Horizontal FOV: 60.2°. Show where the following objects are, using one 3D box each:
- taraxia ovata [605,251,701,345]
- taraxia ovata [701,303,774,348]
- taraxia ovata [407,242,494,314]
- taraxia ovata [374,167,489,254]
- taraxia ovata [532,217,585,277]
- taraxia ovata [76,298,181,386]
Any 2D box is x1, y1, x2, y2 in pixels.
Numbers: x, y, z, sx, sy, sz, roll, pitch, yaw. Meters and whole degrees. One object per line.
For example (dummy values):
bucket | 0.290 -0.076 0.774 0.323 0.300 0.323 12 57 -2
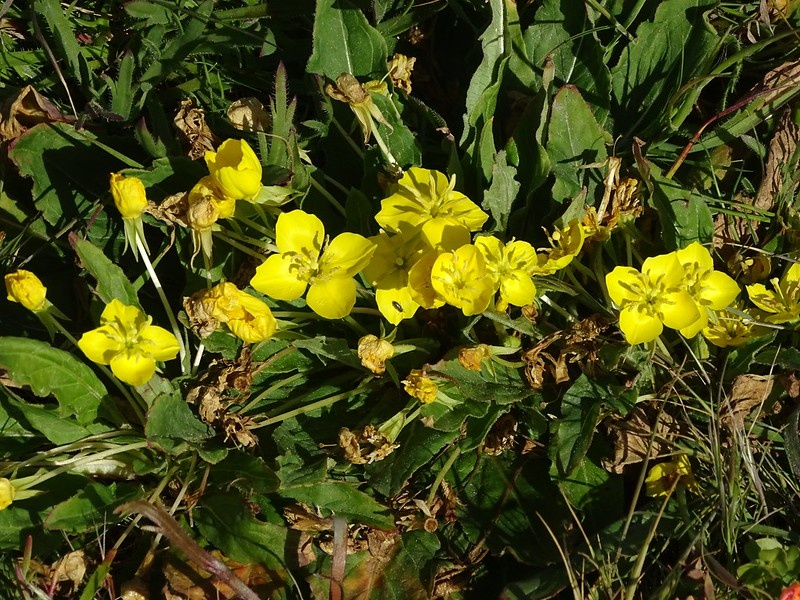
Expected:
taraxia ovata | 0.558 0.011 1.577 0.176 0.169 0.166 -14 71 -4
taraxia ovata | 0.800 0.059 1.639 0.117 0.058 0.108 10 51 33
taraxia ovata | 0.116 -0.047 1.503 0.186 0.128 0.133 13 71 5
taraxia ovata | 0.075 -0.198 1.559 0.225 0.165 0.172 31 74 11
taraxia ovata | 0.365 -0.106 1.607 0.076 0.165 0.136 24 73 9
taraxia ovata | -0.631 0.088 1.595 0.190 0.069 0.196 -25 41 -32
